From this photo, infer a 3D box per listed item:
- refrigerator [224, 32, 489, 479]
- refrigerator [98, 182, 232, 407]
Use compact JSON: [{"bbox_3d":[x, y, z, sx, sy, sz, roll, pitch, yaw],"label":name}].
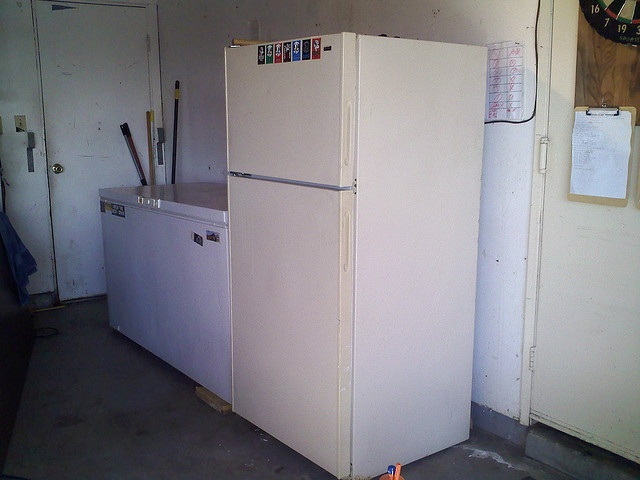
[{"bbox_3d":[0.117,0.085,2.446,1.255,2.023,0.698,3,15,17],"label":"refrigerator"},{"bbox_3d":[-0.836,0.172,3.619,1.581,1.170,0.843,11,16,40],"label":"refrigerator"}]
